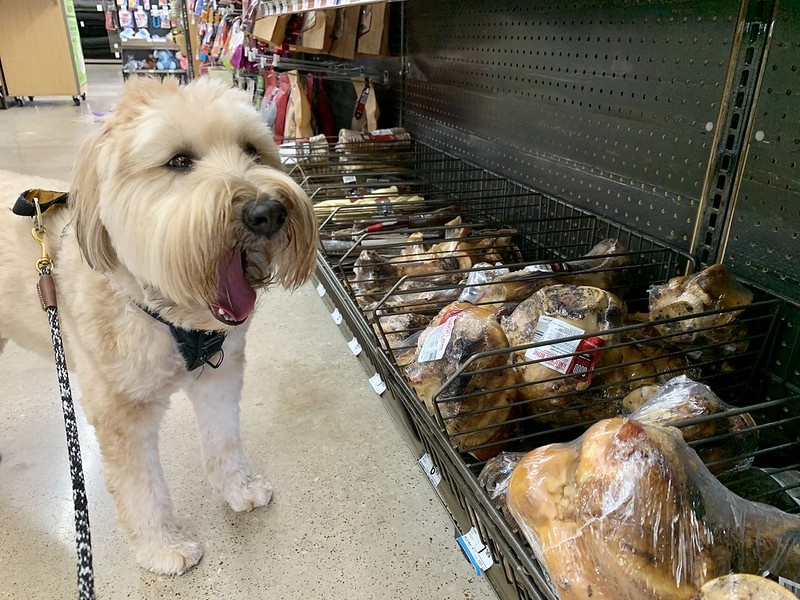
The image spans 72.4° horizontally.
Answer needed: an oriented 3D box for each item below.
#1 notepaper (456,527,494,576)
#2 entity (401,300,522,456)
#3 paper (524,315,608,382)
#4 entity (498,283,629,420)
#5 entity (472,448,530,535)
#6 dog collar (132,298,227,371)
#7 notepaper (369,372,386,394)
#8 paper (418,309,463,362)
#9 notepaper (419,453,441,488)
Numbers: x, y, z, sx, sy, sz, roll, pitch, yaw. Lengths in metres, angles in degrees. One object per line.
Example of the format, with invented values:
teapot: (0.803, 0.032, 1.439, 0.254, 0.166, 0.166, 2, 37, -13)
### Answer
notepaper: (0.158, 0.520, 1.091, 0.030, 0.092, 0.088, -25, 20, 1)
entity: (0.164, 0.219, 1.322, 0.275, 0.405, 0.142, -27, 23, -21)
paper: (0.358, 0.117, 1.216, 0.170, 0.141, 0.166, 12, 28, 23)
entity: (0.407, 0.115, 1.336, 0.264, 0.300, 0.213, -4, 5, 28)
entity: (0.210, 0.369, 1.144, 0.115, 0.050, 0.142, -40, 33, 19)
dog collar: (-0.593, 0.106, 1.470, 0.200, 0.083, 0.155, 43, 16, 0)
notepaper: (-0.056, 0.235, 1.550, 0.020, 0.057, 0.061, 7, 48, -43)
paper: (0.083, 0.058, 1.308, 0.101, 0.154, 0.024, -24, 70, -19)
notepaper: (0.067, 0.388, 1.262, 0.015, 0.069, 0.106, -9, 28, -19)
